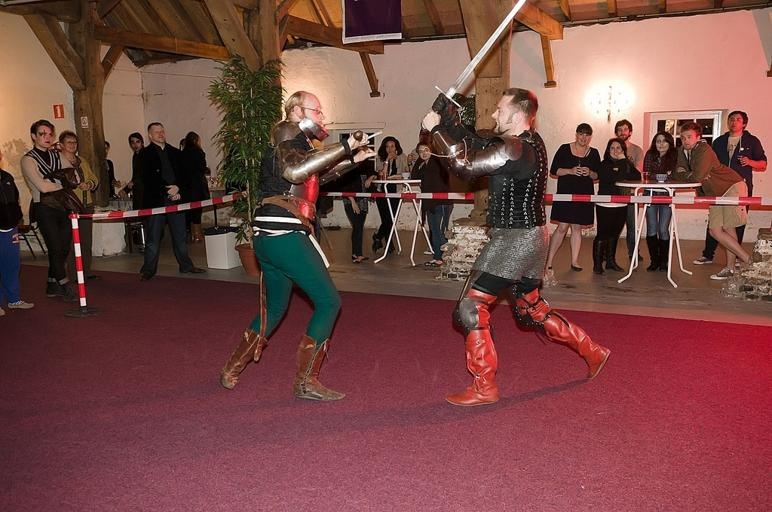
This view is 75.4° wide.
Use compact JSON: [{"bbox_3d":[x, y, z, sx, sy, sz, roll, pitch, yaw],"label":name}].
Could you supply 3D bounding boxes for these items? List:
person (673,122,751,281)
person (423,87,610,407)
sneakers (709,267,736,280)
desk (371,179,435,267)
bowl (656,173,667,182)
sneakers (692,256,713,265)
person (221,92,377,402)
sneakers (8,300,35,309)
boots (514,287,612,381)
[{"bbox_3d":[4.183,-0.693,6.382,0.848,2.003,1.277,6,15,30],"label":"person"},{"bbox_3d":[0.885,-0.072,3.486,0.975,2.126,1.002,9,16,39],"label":"person"},{"bbox_3d":[4.425,0.228,6.524,0.414,0.163,0.143,0,13,11],"label":"sneakers"},{"bbox_3d":[0.354,-0.580,8.717,1.024,1.116,0.984,-1,5,41],"label":"desk"},{"bbox_3d":[3.521,-0.991,6.338,0.125,0.076,0.128,-1,2,0],"label":"bowl"},{"bbox_3d":[4.830,0.057,7.535,0.337,0.143,0.114,2,8,1],"label":"sneakers"},{"bbox_3d":[-0.599,-0.056,3.522,1.095,2.142,0.482,2,13,15],"label":"person"},{"bbox_3d":[-4.210,0.556,5.771,0.311,0.117,0.111,0,8,-9],"label":"sneakers"},{"bbox_3d":[1.309,0.547,3.841,0.823,0.363,0.533,29,57,3],"label":"boots"}]
